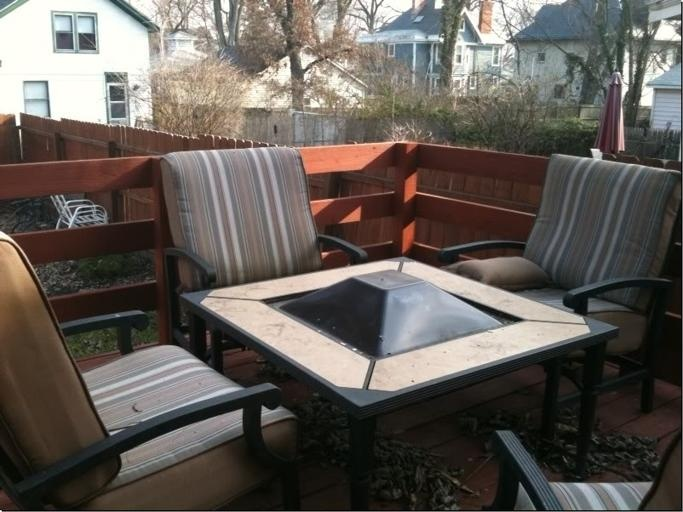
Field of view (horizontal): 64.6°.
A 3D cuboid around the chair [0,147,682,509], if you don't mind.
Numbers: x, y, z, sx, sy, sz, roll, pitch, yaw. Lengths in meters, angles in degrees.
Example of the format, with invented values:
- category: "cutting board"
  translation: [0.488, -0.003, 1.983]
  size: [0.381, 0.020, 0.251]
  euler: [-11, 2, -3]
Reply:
- category: "chair"
  translation: [-0.323, 0.048, 3.154]
  size: [3.209, 1.195, 1.818]
  euler: [-14, 22, -39]
